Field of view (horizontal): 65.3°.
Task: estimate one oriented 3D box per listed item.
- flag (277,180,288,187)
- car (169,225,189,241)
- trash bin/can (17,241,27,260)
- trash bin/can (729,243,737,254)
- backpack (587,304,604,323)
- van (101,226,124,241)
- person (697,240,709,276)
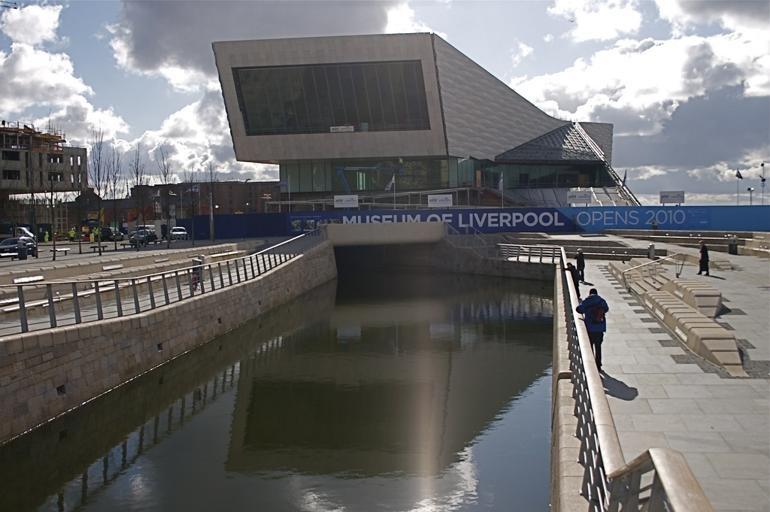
[{"bbox_3d":[-10.630,-7.723,63.517,0.945,0.571,0.700,2,6,-1],"label":"flag"},{"bbox_3d":[-19.071,-2.102,55.850,1.003,0.870,1.757,0,-5,-10],"label":"car"},{"bbox_3d":[-21.426,-0.224,35.534,0.444,0.812,1.820,-8,16,-31],"label":"trash bin/can"},{"bbox_3d":[20.886,-0.475,35.969,0.486,0.644,0.327,8,15,32],"label":"trash bin/can"},{"bbox_3d":[5.378,1.456,15.168,0.379,0.375,0.236,1,13,7],"label":"backpack"},{"bbox_3d":[-30.051,-2.466,66.219,1.863,1.658,3.159,2,9,15],"label":"van"},{"bbox_3d":[14.807,0.062,27.801,0.442,1.415,1.729,6,15,28],"label":"person"}]
